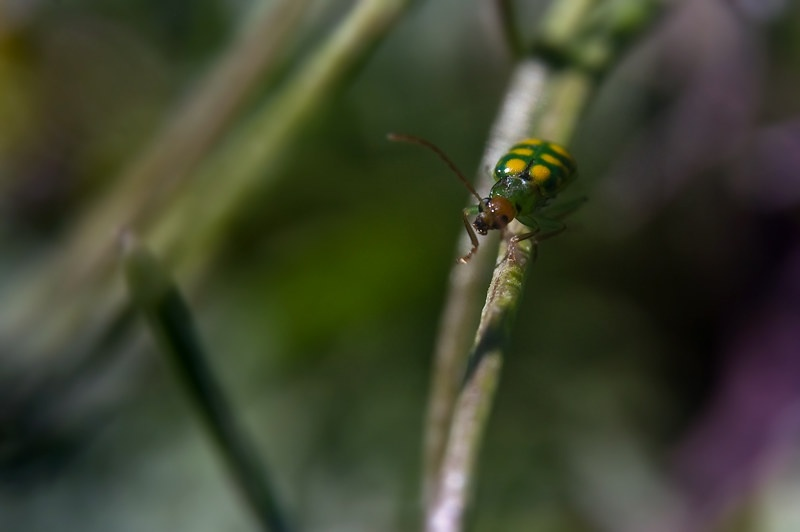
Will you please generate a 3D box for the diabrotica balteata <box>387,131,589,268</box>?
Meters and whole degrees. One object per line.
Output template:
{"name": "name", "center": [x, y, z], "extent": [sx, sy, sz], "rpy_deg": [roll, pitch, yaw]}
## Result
{"name": "diabrotica balteata", "center": [0.186, -0.145, 1.427], "extent": [0.185, 0.170, 0.296], "rpy_deg": [17, 42, 21]}
